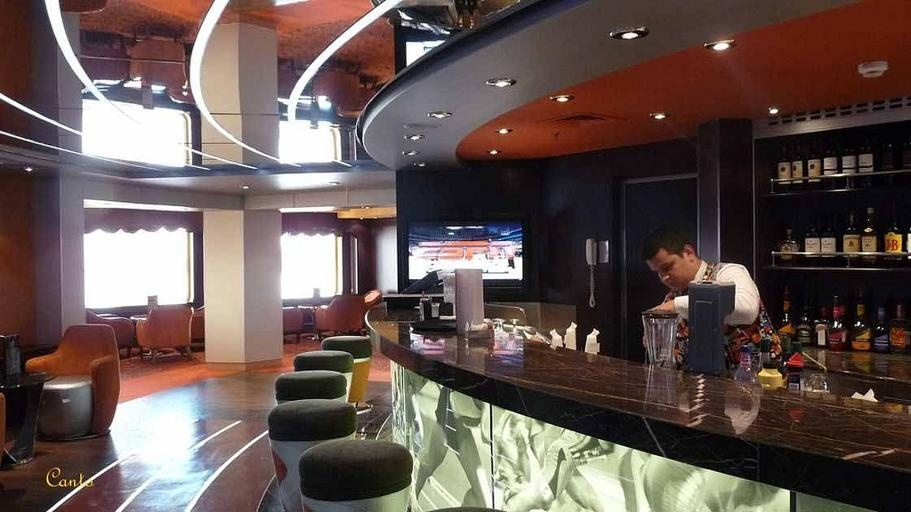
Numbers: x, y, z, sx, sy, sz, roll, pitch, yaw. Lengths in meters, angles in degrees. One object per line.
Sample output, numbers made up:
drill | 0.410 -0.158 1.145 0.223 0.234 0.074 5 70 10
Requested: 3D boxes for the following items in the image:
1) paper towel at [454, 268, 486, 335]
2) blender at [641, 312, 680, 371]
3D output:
paper towel | 0.121 0.407 5.620 0.248 0.607 0.239 -4 4 -2
blender | 1.519 0.609 4.539 0.240 0.418 0.179 -2 5 17
